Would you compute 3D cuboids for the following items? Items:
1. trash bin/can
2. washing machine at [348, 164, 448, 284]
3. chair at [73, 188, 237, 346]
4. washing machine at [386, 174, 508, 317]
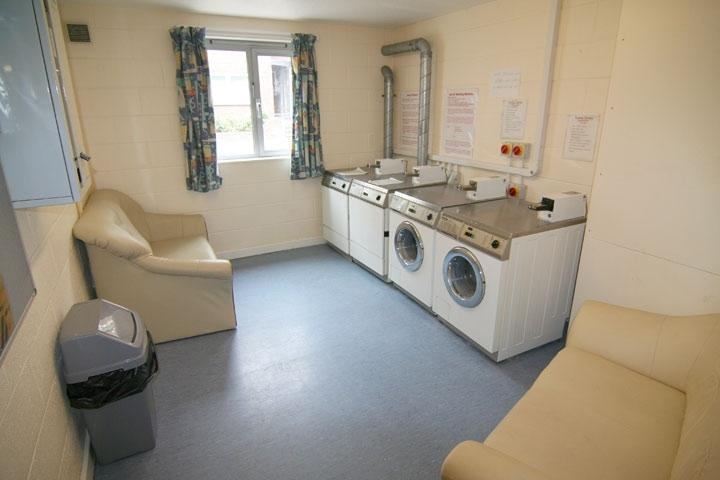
[{"bbox_3d":[-1.619,0.938,3.085,0.532,0.967,0.420,-10,21,-26],"label":"trash bin/can"},{"bbox_3d":[0.303,-0.406,5.603,1.122,1.740,1.217,-8,20,-26],"label":"washing machine"},{"bbox_3d":[-1.862,0.175,4.400,1.085,1.207,1.338,-9,26,-23],"label":"chair"},{"bbox_3d":[0.897,-0.136,4.784,1.203,1.763,1.012,-7,18,-24],"label":"washing machine"}]
